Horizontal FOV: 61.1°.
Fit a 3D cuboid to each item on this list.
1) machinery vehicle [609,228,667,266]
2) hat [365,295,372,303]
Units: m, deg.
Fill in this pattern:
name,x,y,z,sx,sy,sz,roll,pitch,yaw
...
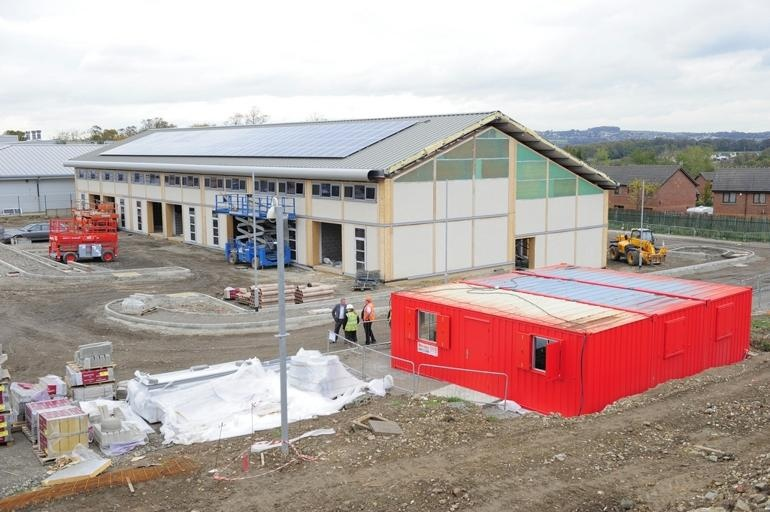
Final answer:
name,x,y,z,sx,sy,sz,roll,pitch,yaw
machinery vehicle,19.822,-0.859,51.373,2.076,3.029,4.375,-4,11,-11
hat,-0.873,2.135,32.714,0.402,0.364,0.507,1,-7,17
